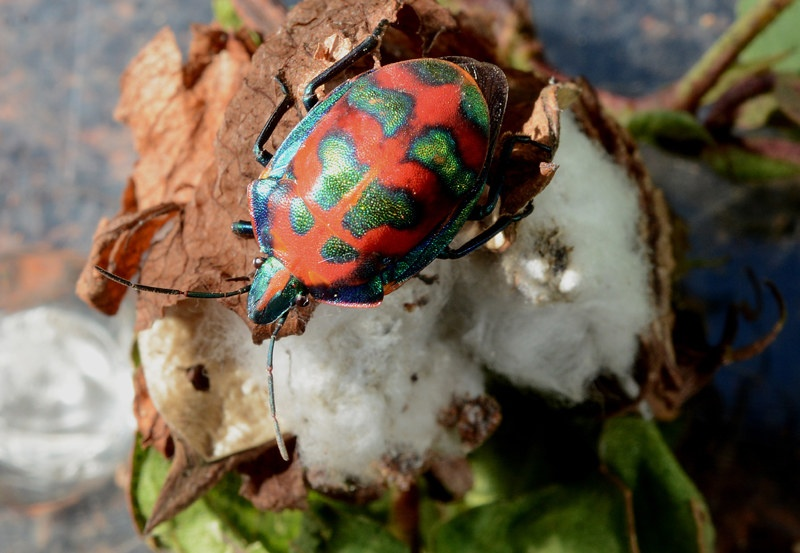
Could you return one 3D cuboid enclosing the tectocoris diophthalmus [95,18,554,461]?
[{"bbox_3d":[-0.091,-0.262,2.647,0.993,0.301,0.631,-34,83,-3],"label":"tectocoris diophthalmus"}]
